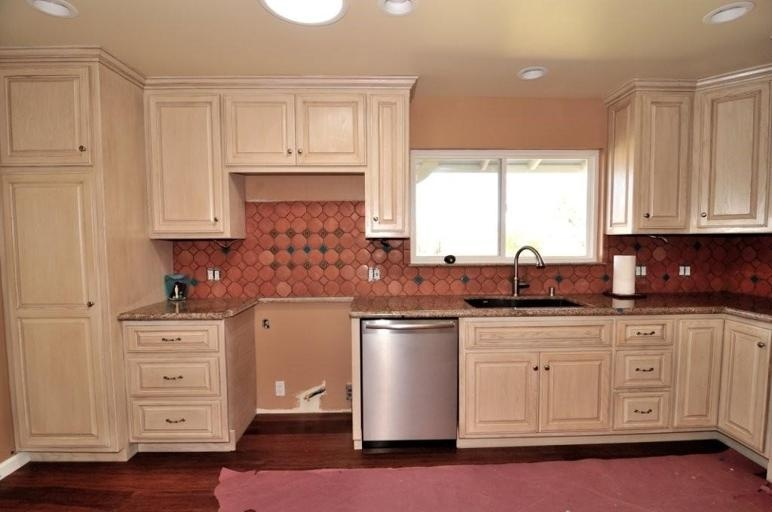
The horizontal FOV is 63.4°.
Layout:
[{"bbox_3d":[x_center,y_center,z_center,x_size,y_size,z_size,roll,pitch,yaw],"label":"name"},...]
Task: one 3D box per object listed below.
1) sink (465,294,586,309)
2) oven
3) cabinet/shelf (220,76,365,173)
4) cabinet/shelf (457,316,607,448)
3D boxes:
[{"bbox_3d":[1.263,0.436,5.875,1.020,0.091,0.218,0,4,9],"label":"sink"},{"bbox_3d":[0.104,1.148,5.813,1.070,1.150,1.009,0,-5,1],"label":"oven"},{"bbox_3d":[-0.733,-1.151,5.808,1.432,0.738,0.421,4,11,20],"label":"cabinet/shelf"},{"bbox_3d":[1.241,1.081,5.684,1.570,1.049,0.532,3,-5,-20],"label":"cabinet/shelf"}]
